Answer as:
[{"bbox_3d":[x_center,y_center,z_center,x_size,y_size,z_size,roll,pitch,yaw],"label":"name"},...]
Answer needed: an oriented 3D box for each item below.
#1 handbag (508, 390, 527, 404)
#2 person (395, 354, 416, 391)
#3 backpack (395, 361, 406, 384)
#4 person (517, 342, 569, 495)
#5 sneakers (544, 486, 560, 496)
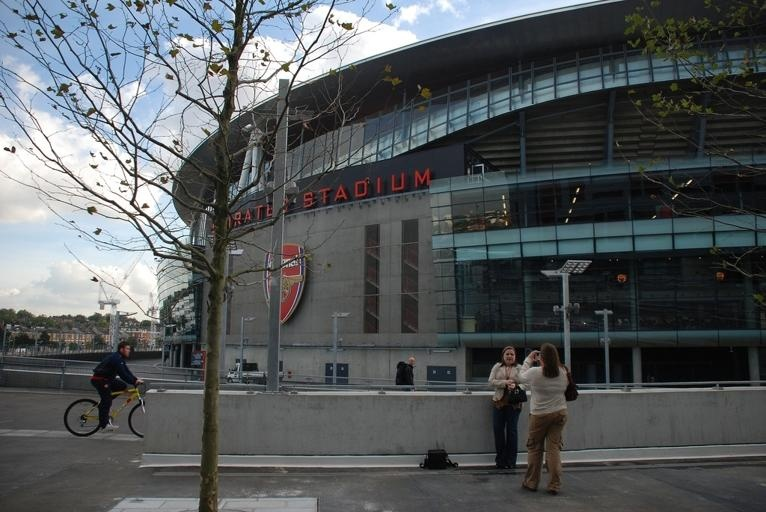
[{"bbox_3d":[3.022,3.147,14.829,0.297,0.264,0.110,-2,-17,-8],"label":"handbag"},{"bbox_3d":[0.865,4.209,23.317,0.699,1.256,0.677,8,-2,14],"label":"person"},{"bbox_3d":[0.688,4.090,23.188,0.293,0.760,0.626,3,-11,-6],"label":"backpack"},{"bbox_3d":[3.402,3.348,13.760,0.971,3.005,0.538,0,-11,15],"label":"person"},{"bbox_3d":[3.463,4.726,13.408,0.266,0.192,0.237,-1,-11,14],"label":"sneakers"}]
